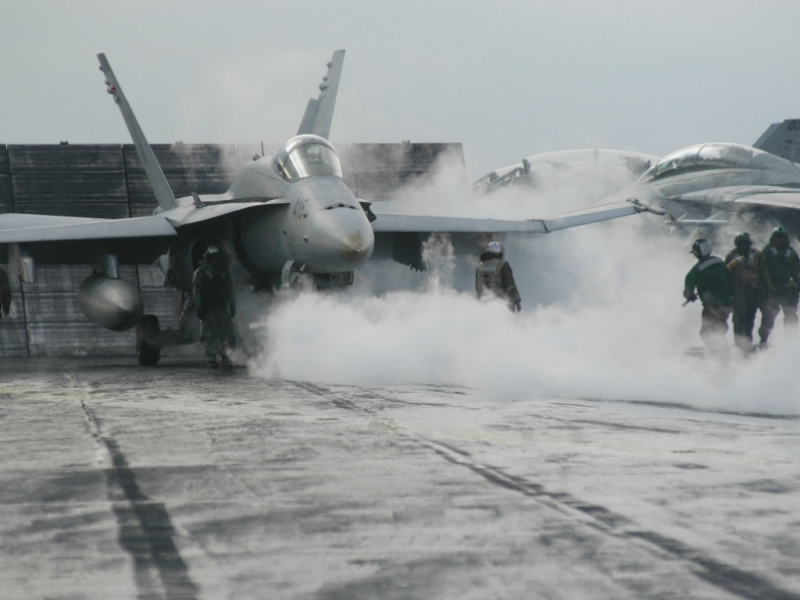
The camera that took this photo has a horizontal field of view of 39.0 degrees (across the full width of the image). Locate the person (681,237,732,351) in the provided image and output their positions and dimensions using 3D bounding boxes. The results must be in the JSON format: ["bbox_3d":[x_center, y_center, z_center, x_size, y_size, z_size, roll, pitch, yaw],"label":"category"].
[{"bbox_3d":[4.490,-0.172,16.440,0.669,1.361,0.601,3,11,15],"label":"person"}]

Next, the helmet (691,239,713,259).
[{"bbox_3d":[4.411,-0.748,16.640,0.285,0.360,0.366,1,0,-2],"label":"helmet"}]

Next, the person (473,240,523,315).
[{"bbox_3d":[1.369,-0.321,15.978,0.431,0.950,0.870,-7,13,-36],"label":"person"}]

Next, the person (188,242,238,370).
[{"bbox_3d":[-2.745,0.127,16.710,0.678,1.788,0.345,-5,12,-27],"label":"person"}]
